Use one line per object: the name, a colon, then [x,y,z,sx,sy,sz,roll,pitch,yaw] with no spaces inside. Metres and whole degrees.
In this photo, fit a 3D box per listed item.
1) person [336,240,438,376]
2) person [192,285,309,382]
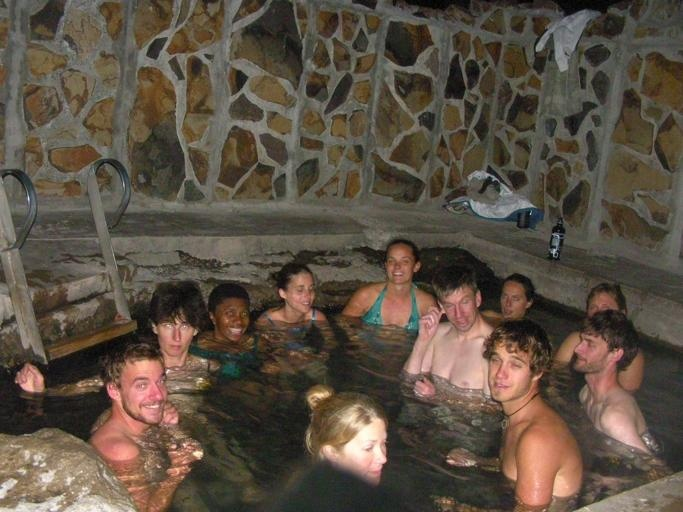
person: [0.438,0.567,5.309,1.048,0.958,0.619,11,27,2]
person: [-0.873,0.722,4.619,0.832,0.579,0.846,15,17,39]
